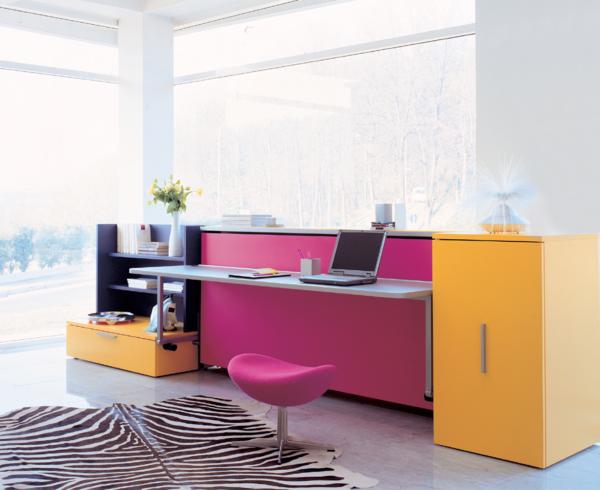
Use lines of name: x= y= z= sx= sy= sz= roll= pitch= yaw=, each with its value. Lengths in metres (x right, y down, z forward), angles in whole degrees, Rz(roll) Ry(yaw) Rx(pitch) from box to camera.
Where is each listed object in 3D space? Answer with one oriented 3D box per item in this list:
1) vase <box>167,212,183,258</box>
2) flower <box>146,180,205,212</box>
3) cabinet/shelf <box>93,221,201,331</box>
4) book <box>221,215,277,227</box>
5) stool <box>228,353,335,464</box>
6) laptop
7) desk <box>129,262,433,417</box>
vase: x=-1.250 y=-0.123 z=5.719 sx=0.125 sy=0.438 sz=0.227 roll=-1 pitch=4 yaw=-12
flower: x=-1.291 y=-0.504 z=5.691 sx=0.372 sy=0.360 sz=0.326 roll=-1 pitch=4 yaw=-16
cabinet/shelf: x=-1.534 y=0.295 z=5.777 sx=0.986 sy=1.065 sz=0.338 roll=0 pitch=-3 yaw=32
book: x=-0.463 y=-0.238 z=5.295 sx=0.478 sy=0.105 sz=0.279 roll=-1 pitch=4 yaw=-9
stool: x=-0.062 y=0.903 z=3.558 sx=0.655 sy=0.530 sz=0.545 roll=-1 pitch=-6 yaw=37
laptop: x=0.316 y=0.072 z=4.071 sx=0.443 sy=0.343 sz=0.435 roll=3 pitch=-2 yaw=-41
desk: x=-0.077 y=0.590 z=4.498 sx=2.454 sy=0.743 sz=0.708 roll=2 pitch=3 yaw=41
